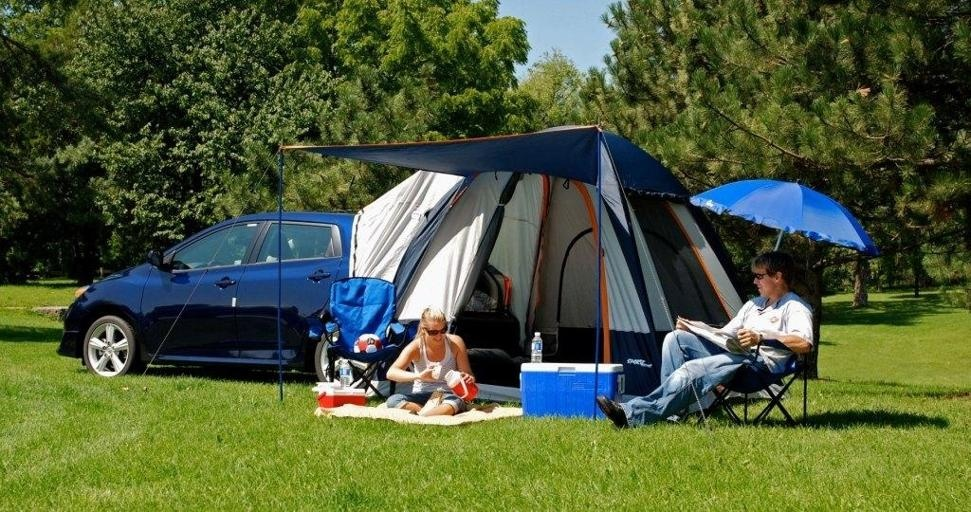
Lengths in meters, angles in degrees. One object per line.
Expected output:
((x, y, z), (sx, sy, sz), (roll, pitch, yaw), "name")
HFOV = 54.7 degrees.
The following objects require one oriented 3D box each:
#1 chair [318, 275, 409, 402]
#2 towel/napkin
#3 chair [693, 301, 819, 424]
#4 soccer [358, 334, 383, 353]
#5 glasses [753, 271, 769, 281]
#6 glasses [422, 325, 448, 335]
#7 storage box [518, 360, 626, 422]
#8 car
((-2.179, 1.430, 16.979), (1.246, 2.375, 1.736), (0, -1, 3), "chair")
((-1.134, 2.658, 15.692), (3.425, 0.274, 0.839), (1, -5, 0), "towel/napkin")
((4.865, 2.098, 15.948), (1.671, 1.934, 1.750), (2, -5, 7), "chair")
((-2.039, 1.551, 16.369), (0.336, 0.323, 0.328), (-10, -12, -6), "soccer")
((4.578, 0.356, 15.499), (0.176, 0.052, 0.163), (21, -2, -20), "glasses")
((-0.867, 1.251, 15.875), (0.386, 0.167, 0.162), (3, -6, -15), "glasses")
((1.466, 2.315, 16.045), (1.815, 0.852, 1.125), (0, -8, 10), "storage box")
((-4.910, 0.880, 18.791), (7.496, 2.670, 3.670), (1, -3, 16), "car")
